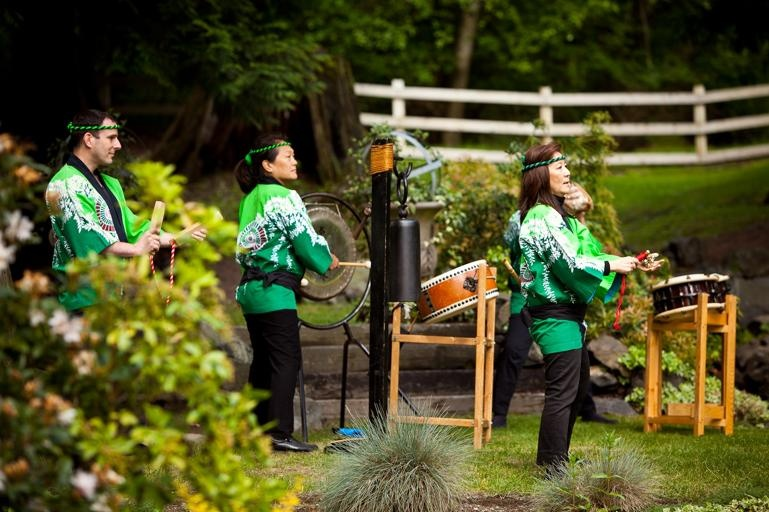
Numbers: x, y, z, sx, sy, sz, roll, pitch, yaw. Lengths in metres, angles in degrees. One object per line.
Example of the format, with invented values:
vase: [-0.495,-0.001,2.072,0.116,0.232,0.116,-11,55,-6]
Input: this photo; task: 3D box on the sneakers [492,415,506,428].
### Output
sneakers: [1.102,1.608,13.880,0.127,0.086,0.170,-2,29,8]

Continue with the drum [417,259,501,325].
drum: [0.666,0.316,13.234,0.787,0.342,0.804,-18,-4,-1]

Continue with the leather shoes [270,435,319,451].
leather shoes: [-0.811,1.660,12.786,0.426,0.167,0.142,1,-2,-8]

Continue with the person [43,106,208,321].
person: [-2.352,-0.344,11.823,0.992,1.355,1.762,-16,30,-17]

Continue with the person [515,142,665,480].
person: [1.747,0.537,12.323,1.142,2.871,0.850,-1,14,-1]

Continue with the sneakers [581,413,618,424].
sneakers: [2.093,1.578,14.028,0.350,0.138,0.119,-1,0,4]

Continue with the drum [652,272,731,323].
drum: [2.912,0.346,13.485,0.499,0.210,0.469,-13,-5,-1]
